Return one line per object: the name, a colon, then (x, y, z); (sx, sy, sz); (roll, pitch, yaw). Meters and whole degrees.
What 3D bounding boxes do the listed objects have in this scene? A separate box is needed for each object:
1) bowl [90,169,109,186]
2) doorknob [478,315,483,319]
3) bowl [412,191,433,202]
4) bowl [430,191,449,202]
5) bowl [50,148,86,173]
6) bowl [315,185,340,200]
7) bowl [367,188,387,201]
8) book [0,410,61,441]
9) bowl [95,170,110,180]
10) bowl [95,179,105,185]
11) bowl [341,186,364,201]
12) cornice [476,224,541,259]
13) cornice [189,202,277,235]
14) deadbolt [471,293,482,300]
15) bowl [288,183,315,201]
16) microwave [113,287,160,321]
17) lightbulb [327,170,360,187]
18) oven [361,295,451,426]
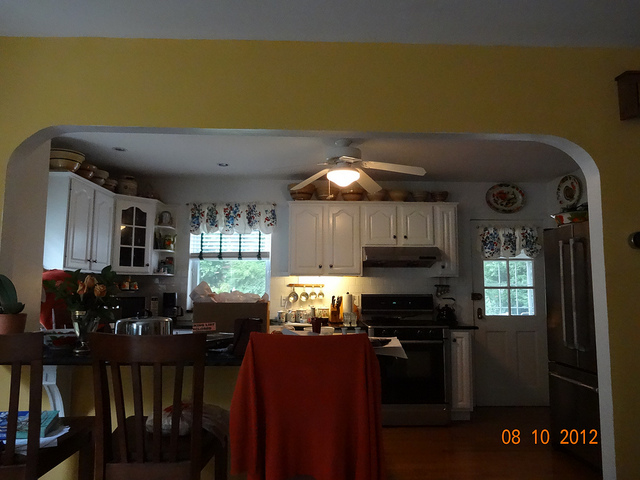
bowl: (-2.212, -0.635, 5.378); (0.119, 0.065, 0.163); (5, -39, -36)
doorknob: (1.863, 0.893, 6.153); (0.051, 0.044, 0.015); (0, -4, -11)
bowl: (1.167, -0.495, 6.104); (0.153, 0.083, 0.158); (1, -11, 0)
bowl: (1.368, -0.492, 6.072); (0.126, 0.080, 0.128); (0, -5, 0)
bowl: (-2.282, -0.723, 4.788); (0.216, 0.111, 0.221); (0, -2, 0)
bowl: (0.085, -0.547, 6.057); (0.284, 0.198, 0.254); (-1, -4, 2)
bowl: (0.663, -0.499, 5.974); (0.159, 0.112, 0.162); (0, -5, 0)
book: (-1.487, 0.940, 2.763); (0.224, 0.050, 0.224); (4, 0, -6)
bowl: (-2.199, -0.660, 5.384); (0.089, 0.058, 0.092); (1, -2, 0)
bowl: (-2.231, -0.590, 5.392); (0.060, 0.014, 0.061); (-15, -30, -9)
bowl: (0.371, -0.524, 5.996); (0.164, 0.102, 0.168); (0, -7, 0)
cornice: (2.211, 0.015, 6.231); (0.670, 0.426, 0.090); (-1, -17, 12)
cornice: (-1.015, -0.257, 6.339); (0.894, 0.388, 0.182); (3, -2, 0)
deadbolt: (1.828, 0.656, 6.180); (0.133, 0.073, 0.038); (1, -4, -16)
bowl: (-0.180, -0.520, 5.887); (0.205, 0.125, 0.209); (0, -6, 0)
microwave: (-2.027, 0.697, 5.931); (0.462, 0.319, 0.348); (1, -4, -16)
lightbulb: (0.198, -0.519, 4.417); (0.256, 0.088, 0.248); (-3, -5, 37)
oven: (0.963, 1.321, 5.933); (1.112, 1.704, 1.086); (0, -10, -1)
